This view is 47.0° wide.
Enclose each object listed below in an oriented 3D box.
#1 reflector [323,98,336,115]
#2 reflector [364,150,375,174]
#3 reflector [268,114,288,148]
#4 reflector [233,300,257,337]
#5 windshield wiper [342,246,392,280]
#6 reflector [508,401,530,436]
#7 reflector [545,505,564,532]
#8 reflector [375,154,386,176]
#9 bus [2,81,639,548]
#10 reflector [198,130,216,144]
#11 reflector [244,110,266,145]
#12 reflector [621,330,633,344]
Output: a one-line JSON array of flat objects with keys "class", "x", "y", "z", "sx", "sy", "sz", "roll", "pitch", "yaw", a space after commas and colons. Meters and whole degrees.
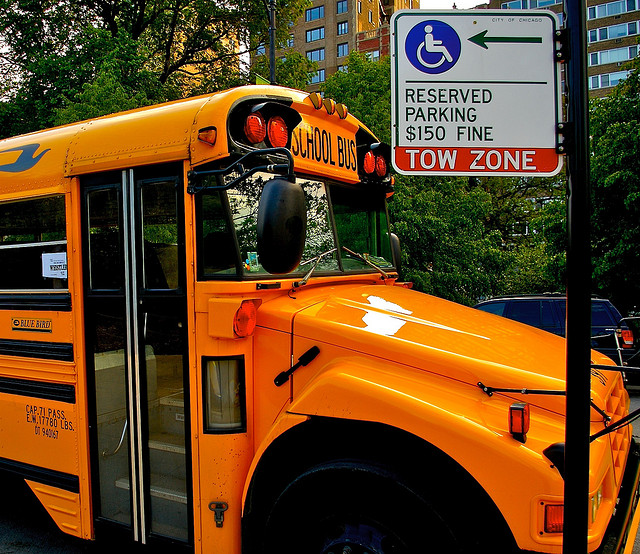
[{"class": "reflector", "x": 0.069, "y": -1.168, "z": 5.048, "sx": 0.075, "sy": 0.112, "sz": 0.038, "roll": 10, "pitch": 2, "yaw": 39}, {"class": "reflector", "x": 0.378, "y": -0.870, "z": 5.596, "sx": 0.033, "sy": 0.150, "sz": 0.110, "roll": 6, "pitch": 4, "yaw": 42}, {"class": "reflector", "x": -0.271, "y": -0.910, "z": 4.574, "sx": 0.028, "sy": 0.226, "sz": 0.211, "roll": -10, "pitch": -15, "yaw": 26}, {"class": "reflector", "x": -0.439, "y": 0.239, "z": 4.329, "sx": 0.045, "sy": 0.186, "sz": 0.161, "roll": 5, "pitch": 0, "yaw": 40}, {"class": "windshield wiper", "x": 0.334, "y": -0.104, "z": 5.480, "sx": 0.403, "sy": 0.053, "sz": 0.074, "roll": 31, "pitch": 2, "yaw": -25}, {"class": "reflector", "x": 1.030, "y": 0.693, "z": 3.775, "sx": 0.121, "sy": 0.244, "sz": 0.167, "roll": -1, "pitch": -1, "yaw": 21}, {"class": "reflector", "x": 1.167, "y": 1.193, "z": 3.662, "sx": 0.084, "sy": 0.140, "sz": 0.052, "roll": 1, "pitch": 6, "yaw": 24}, {"class": "reflector", "x": 0.473, "y": -0.883, "z": 5.774, "sx": 0.032, "sy": 0.145, "sz": 0.106, "roll": 7, "pitch": 11, "yaw": 36}, {"class": "bus", "x": -0.569, "y": 0.204, "z": 5.781, "sx": 5.526, "sy": 3.097, "sz": 2.250, "roll": -2, "pitch": 1, "yaw": 32}, {"class": "reflector", "x": -0.675, "y": -0.839, "z": 4.385, "sx": 0.080, "sy": 0.076, "sz": 0.021, "roll": 1, "pitch": 3, "yaw": 17}, {"class": "reflector", "x": -0.395, "y": -0.907, "z": 4.473, "sx": 0.037, "sy": 0.175, "sz": 0.156, "roll": 1, "pitch": 9, "yaw": 31}, {"class": "reflector", "x": 3.953, "y": 0.758, "z": 9.434, "sx": 0.149, "sy": 0.167, "sz": 0.153, "roll": -1, "pitch": -1, "yaw": -21}]
